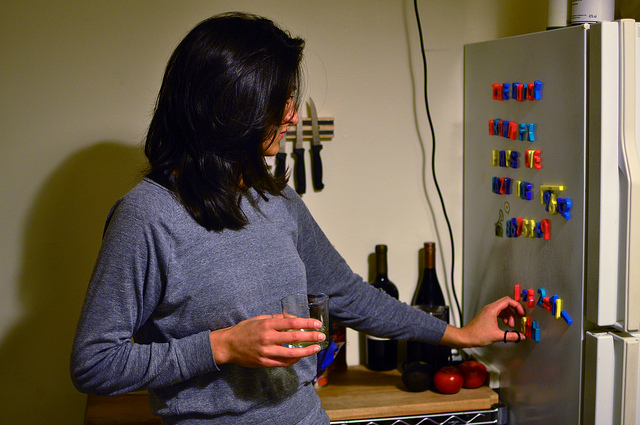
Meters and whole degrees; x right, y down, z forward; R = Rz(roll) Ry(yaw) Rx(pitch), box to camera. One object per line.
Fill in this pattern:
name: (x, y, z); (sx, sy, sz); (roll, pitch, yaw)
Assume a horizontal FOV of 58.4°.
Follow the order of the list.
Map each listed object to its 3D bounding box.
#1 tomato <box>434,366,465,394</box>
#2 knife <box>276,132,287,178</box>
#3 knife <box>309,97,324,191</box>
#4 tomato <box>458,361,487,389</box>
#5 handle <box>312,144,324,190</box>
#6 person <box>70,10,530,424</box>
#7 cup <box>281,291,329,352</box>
tomato: (0.440, 0.565, 1.969); (0.086, 0.066, 0.085); (-3, -4, 24)
knife: (-0.137, -0.215, 2.077); (0.044, 0.156, 0.128); (-2, 3, -4)
knife: (-0.011, -0.256, 2.126); (0.050, 0.339, 0.052); (-1, 12, -6)
tomato: (0.540, 0.572, 2.029); (0.082, 0.076, 0.083); (-8, -10, -1)
handle: (-0.005, -0.170, 2.145); (0.044, 0.168, 0.017); (-8, 11, -19)
person: (-0.058, 0.009, 2.336); (1.225, 2.051, 1.012); (-3, 3, 5)
cup: (-0.028, 0.270, 1.447); (0.130, 0.140, 0.140); (-2, -2, 0)
